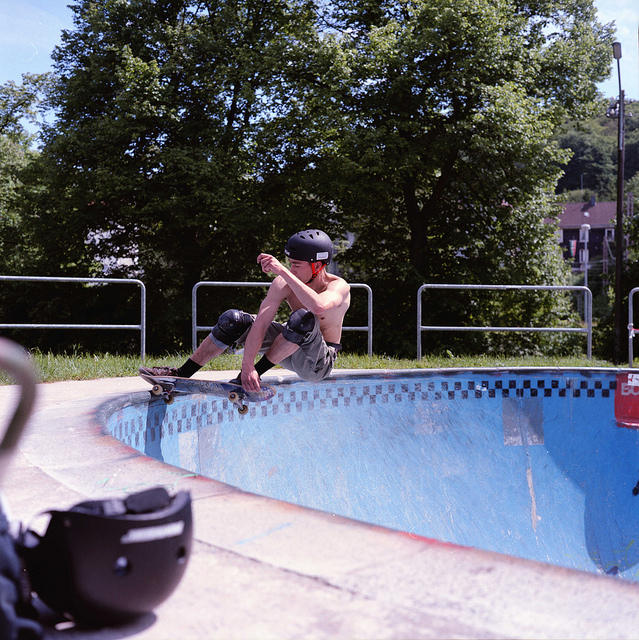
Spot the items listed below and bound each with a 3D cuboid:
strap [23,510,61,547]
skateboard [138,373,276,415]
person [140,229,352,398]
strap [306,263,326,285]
[{"bbox_3d":[-0.610,0.434,1.705,0.077,0.085,0.020,11,-13,-13],"label":"strap"},{"bbox_3d":[-0.592,0.389,4.056,0.665,0.182,0.119,7,38,13],"label":"skateboard"},{"bbox_3d":[-0.274,-0.035,4.116,0.828,0.868,0.993,4,-3,-44],"label":"person"},{"bbox_3d":[-0.031,-0.248,3.924,0.020,0.088,0.063,12,2,36],"label":"strap"}]
